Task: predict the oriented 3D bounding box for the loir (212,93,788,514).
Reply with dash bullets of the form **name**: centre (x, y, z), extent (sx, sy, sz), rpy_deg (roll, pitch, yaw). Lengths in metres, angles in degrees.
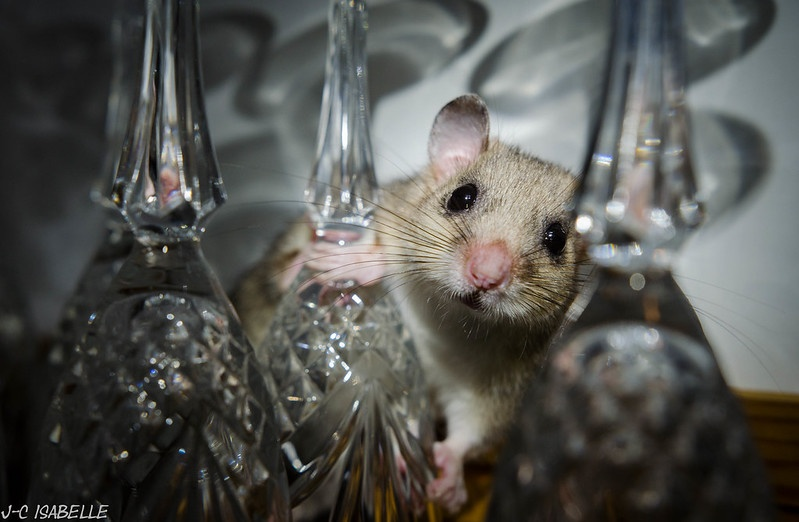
- **loir**: centre (0.073, 0.008, 0.782), extent (0.262, 0.380, 0.478), rpy_deg (20, -33, 12)
